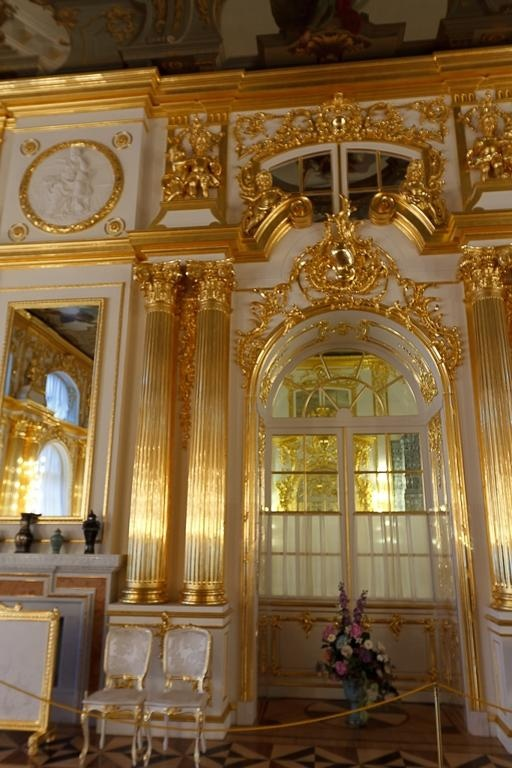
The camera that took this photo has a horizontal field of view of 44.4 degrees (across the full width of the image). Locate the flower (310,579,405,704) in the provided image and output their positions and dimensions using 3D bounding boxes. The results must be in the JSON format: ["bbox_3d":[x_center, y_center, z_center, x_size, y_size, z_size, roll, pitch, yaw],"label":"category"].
[{"bbox_3d":[0.875,2.264,5.468,0.671,0.977,1.089,-2,-16,11],"label":"flower"}]

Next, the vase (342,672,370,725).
[{"bbox_3d":[0.831,2.590,5.206,0.187,0.356,0.481,-2,-16,9],"label":"vase"}]

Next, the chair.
[{"bbox_3d":[-0.754,2.195,4.443,0.849,0.827,1.222,2,-15,-4],"label":"chair"}]
